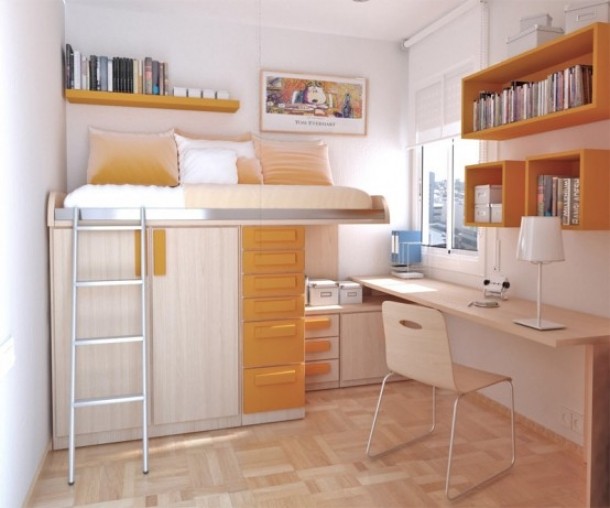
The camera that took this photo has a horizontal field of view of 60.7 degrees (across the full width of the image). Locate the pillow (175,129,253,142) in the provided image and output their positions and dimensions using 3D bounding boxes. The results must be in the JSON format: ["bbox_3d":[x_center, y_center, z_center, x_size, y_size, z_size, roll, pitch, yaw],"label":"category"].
[{"bbox_3d":[-0.704,-0.984,4.224,0.506,0.091,0.064,2,45,-11],"label":"pillow"}]

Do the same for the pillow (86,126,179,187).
[{"bbox_3d":[-1.268,-0.683,3.750,0.617,0.395,0.202,-2,-5,-8],"label":"pillow"}]

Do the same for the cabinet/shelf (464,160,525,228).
[{"bbox_3d":[1.243,-0.387,3.418,0.332,0.482,0.547,0,0,-14],"label":"cabinet/shelf"}]

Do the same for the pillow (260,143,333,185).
[{"bbox_3d":[-0.093,-0.721,4.142,0.583,0.343,0.289,-2,11,-6],"label":"pillow"}]

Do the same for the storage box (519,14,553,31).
[{"bbox_3d":[1.382,-1.368,3.144,0.166,0.091,0.162,-10,13,-44],"label":"storage box"}]

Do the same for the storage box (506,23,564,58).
[{"bbox_3d":[1.385,-1.232,3.150,0.208,0.136,0.267,-6,9,-27],"label":"storage box"}]

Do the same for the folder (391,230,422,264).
[{"bbox_3d":[0.889,-0.052,4.606,0.268,0.317,0.242,0,11,8],"label":"folder"}]

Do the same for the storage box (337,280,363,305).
[{"bbox_3d":[0.372,0.325,4.296,0.180,0.132,0.229,0,1,-2],"label":"storage box"}]

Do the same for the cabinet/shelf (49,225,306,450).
[{"bbox_3d":[-0.897,0.528,3.351,1.617,1.217,0.536,-1,0,-20],"label":"cabinet/shelf"}]

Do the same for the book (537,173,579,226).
[{"bbox_3d":[1.422,-0.298,2.927,0.129,0.297,0.339,3,-1,-24],"label":"book"}]

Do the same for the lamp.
[{"bbox_3d":[1.332,0.074,2.951,0.254,0.594,0.614,3,11,21],"label":"lamp"}]

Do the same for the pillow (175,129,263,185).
[{"bbox_3d":[-0.675,-0.755,4.032,0.643,0.416,0.432,-4,11,-12],"label":"pillow"}]

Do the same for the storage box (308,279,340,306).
[{"bbox_3d":[0.138,0.319,4.311,0.207,0.152,0.261,0,2,-8],"label":"storage box"}]
